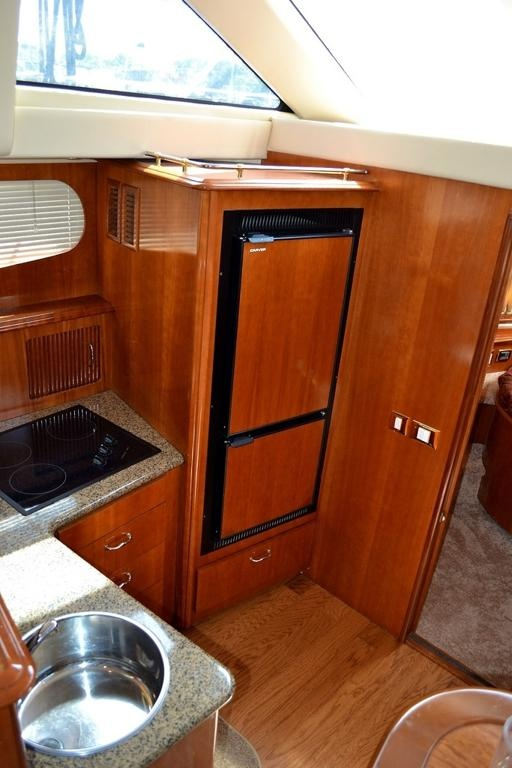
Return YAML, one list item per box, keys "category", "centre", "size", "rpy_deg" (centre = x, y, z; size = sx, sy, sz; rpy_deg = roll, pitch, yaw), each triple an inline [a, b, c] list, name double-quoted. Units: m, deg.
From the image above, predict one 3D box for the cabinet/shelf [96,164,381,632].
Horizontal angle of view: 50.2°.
- category: "cabinet/shelf"
  centre: [-0.112, 0.105, 1.958]
  size: [0.966, 1.645, 0.528]
  rpy_deg: [6, 24, -12]
